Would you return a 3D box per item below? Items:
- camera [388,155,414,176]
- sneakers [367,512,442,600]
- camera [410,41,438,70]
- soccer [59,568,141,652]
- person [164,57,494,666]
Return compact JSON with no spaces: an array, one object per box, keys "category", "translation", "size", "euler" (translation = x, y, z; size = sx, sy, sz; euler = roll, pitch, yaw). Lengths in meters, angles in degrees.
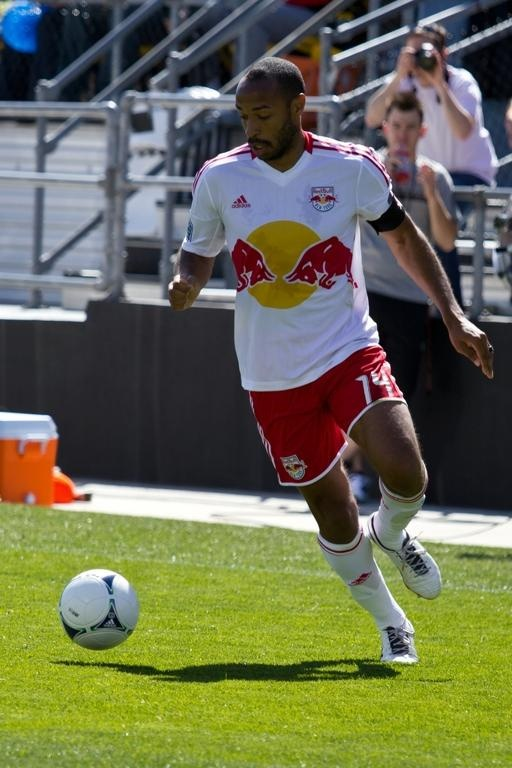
[{"category":"camera","translation":[0.685,-1.027,6.223],"size":[0.093,0.114,0.055],"euler":[-4,13,-7]},{"category":"sneakers","translation":[0.476,0.512,4.007],"size":[0.138,0.113,0.323],"euler":[-31,45,-7]},{"category":"camera","translation":[0.861,-1.655,6.667],"size":[0.137,0.123,0.128],"euler":[0,2,-34]},{"category":"soccer","translation":[-0.460,0.665,3.765],"size":[0.216,0.243,0.163],"euler":[2,4,-29]},{"category":"person","translation":[0.176,-0.064,3.805],"size":[0.898,1.721,0.387],"euler":[4,4,6]}]
